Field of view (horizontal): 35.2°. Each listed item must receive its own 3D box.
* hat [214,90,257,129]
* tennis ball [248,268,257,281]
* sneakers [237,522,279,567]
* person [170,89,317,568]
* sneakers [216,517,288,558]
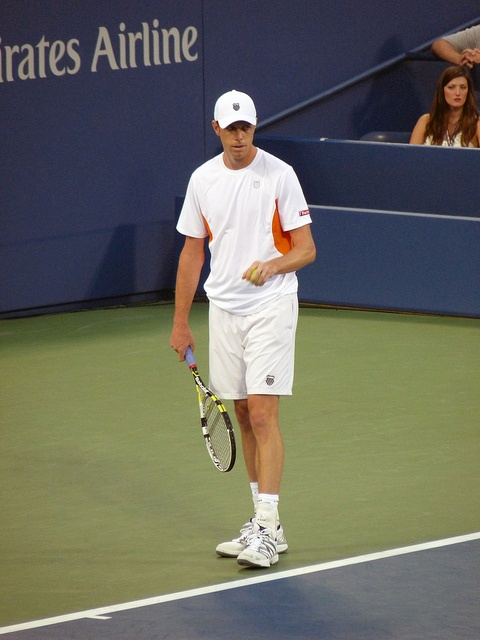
[{"bbox_3d":[-0.019,-0.762,2.730,0.105,0.100,0.170,-3,15,-7],"label":"hat"},{"bbox_3d":[0.043,-0.154,2.617,0.018,0.035,0.035,20,38,5],"label":"tennis ball"},{"bbox_3d":[0.072,0.756,2.580,0.089,0.153,0.289,-6,-6,20],"label":"sneakers"},{"bbox_3d":[-0.062,0.101,2.786,0.562,1.470,0.508,1,4,32],"label":"person"},{"bbox_3d":[0.069,0.763,2.721,0.104,0.154,0.317,-5,-8,42],"label":"sneakers"}]
